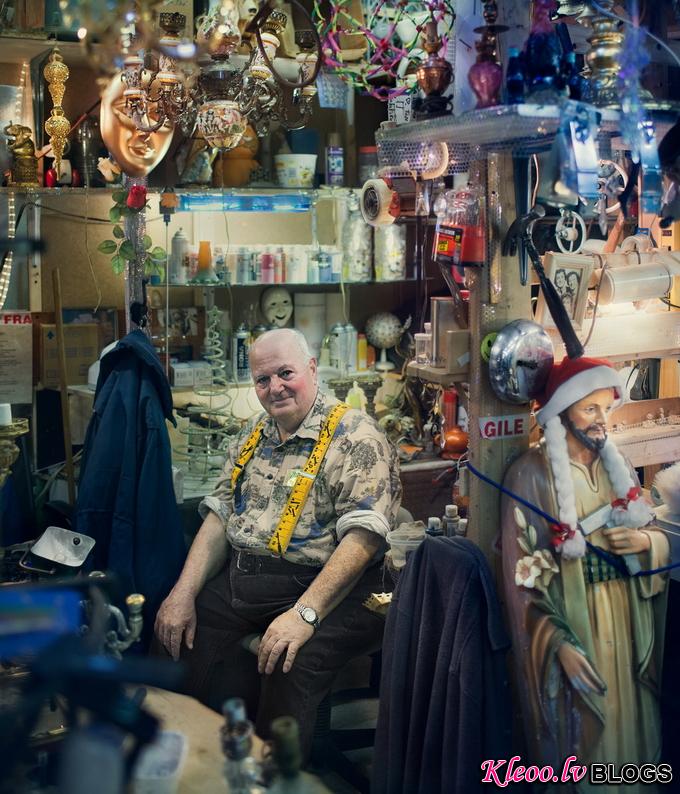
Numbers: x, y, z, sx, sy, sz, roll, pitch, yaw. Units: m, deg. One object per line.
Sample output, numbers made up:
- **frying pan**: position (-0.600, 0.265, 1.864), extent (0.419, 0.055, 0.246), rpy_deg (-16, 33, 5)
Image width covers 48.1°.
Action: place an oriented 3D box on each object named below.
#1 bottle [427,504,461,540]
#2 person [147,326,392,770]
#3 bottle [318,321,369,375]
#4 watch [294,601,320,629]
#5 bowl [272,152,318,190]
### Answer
- **bottle**: position (0.285, 0.343, 2.106), extent (0.088, 0.080, 0.091), rpy_deg (-1, -2, 38)
- **person**: position (-0.206, 0.460, 2.477), extent (0.764, 1.355, 0.659), rpy_deg (2, 4, 8)
- **bottle**: position (0.020, -0.255, 4.053), extent (0.267, 0.283, 0.268), rpy_deg (0, -2, -2)
- **watch**: position (-0.094, 0.655, 2.287), extent (0.071, 0.077, 0.051), rpy_deg (-22, 21, 49)
- **bowl**: position (-0.227, -1.110, 3.759), extent (0.172, 0.135, 0.186), rpy_deg (0, 3, 0)
